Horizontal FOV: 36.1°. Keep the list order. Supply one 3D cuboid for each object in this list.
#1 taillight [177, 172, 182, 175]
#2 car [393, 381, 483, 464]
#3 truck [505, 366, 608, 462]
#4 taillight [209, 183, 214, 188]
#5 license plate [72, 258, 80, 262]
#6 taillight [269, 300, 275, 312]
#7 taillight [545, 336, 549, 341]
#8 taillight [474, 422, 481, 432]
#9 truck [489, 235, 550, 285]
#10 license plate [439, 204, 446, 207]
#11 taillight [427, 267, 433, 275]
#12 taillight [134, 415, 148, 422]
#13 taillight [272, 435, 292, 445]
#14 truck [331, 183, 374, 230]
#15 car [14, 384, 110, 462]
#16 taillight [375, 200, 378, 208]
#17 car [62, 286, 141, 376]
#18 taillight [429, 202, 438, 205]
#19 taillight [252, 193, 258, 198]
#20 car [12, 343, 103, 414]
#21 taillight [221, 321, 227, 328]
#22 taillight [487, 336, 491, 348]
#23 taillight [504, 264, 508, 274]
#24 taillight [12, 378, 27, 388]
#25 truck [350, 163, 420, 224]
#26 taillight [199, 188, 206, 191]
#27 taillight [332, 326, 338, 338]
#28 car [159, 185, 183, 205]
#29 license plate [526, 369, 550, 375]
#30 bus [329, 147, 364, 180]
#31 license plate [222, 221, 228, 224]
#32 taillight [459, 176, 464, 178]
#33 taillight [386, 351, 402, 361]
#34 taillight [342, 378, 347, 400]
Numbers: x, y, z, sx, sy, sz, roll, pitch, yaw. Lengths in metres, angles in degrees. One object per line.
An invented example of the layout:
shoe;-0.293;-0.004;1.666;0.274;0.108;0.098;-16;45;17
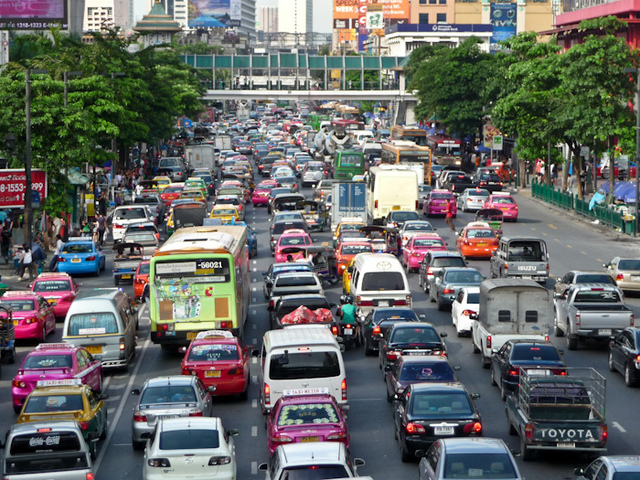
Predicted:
taillight;-12.116;-5.677;84.354;0.147;0.222;0.529;5;16;26
car;3.146;5.129;26.731;2.399;2.052;1.660;2;13;14
truck;6.344;4.627;27.558;1.672;1.863;3.438;0;9;-1
taillight;-8.650;-4.275;77.593;0.191;0.245;0.282;11;4;16
license plate;-12.649;1.049;50.669;0.233;0.205;0.141;0;-4;-4
taillight;-1.909;2.609;38.471;0.284;0.496;0.131;-1;7;-16
taillight;7.696;3.361;33.441;0.117;0.166;0.137;0;10;0
taillight;4.132;4.973;26.088;0.205;0.257;0.060;1;-2;-11
truck;9.145;0.863;45.776;1.940;2.571;4.009;0;7;-1
license plate;8.063;-2.249;65.143;0.420;0.202;0.140;1;13;11
taillight;4.911;1.426;44.159;0.069;0.353;0.447;-6;14;-21
taillight;-4.998;4.983;27.338;0.250;0.096;0.202;3;6;3
taillight;-0.999;5.193;25.428;0.342;0.193;0.231;3;1;-8
truck;1.813;-2.510;60.933;1.584;2.300;3.481;0;8;-2
car;-7.455;5.166;28.474;2.142;1.903;4.844;-2;0;-5
taillight;3.386;-2.191;60.164;0.185;0.472;0.060;7;14;33
car;-8.104;3.168;36.438;2.203;2.805;4.537;-4;7;-2
taillight;7.515;-2.394;65.454;0.595;0.179;0.108;8;15;33
taillight;-4.825;-3.246;72.221;0.423;0.356;0.130;9;15;36
car;-8.444;4.350;31.751;2.155;2.115;4.581;-2;2;1
taillight;-3.460;3.027;34.976;0.167;0.205;0.183;-1;0;-7
taillight;5.751;3.503;33.601;0.121;0.437;0.071;5;13;27
taillight;8.301;1.303;44.105;0.232;0.510;0.262;1;3;4
taillight;-9.326;4.453;30.383;0.336;0.119;0.238;6;5;-13
truck;4.284;-2.990;63.238;2.731;3.859;7.034;-1;7;-4
taillight;-8.418;-3.557;69.698;0.315;0.207;0.463;-1;-4;-5
taillight;0.505;3.327;35.287;0.160;0.182;0.307;0;14;1
car;-10.712;-3.332;70.417;1.131;1.022;2.809;0;13;-2
license plate;6.484;4.016;29.584;0.515;0.092;0.378;0;15;6
bus;2.116;-5.793;77.201;2.232;2.949;5.012;1;11;-5
license plate;-5.505;-1.022;56.466;0.306;0.036;0.412;-4;15;-11
taillight;10.724;-4.774;74.915;0.493;0.149;0.122;-14;18;-39
taillight;2.372;3.818;32.213;0.583;0.305;0.260;5;14;26
taillight;0.686;4.410;28.911;0.098;0.542;0.231;0;12;7
